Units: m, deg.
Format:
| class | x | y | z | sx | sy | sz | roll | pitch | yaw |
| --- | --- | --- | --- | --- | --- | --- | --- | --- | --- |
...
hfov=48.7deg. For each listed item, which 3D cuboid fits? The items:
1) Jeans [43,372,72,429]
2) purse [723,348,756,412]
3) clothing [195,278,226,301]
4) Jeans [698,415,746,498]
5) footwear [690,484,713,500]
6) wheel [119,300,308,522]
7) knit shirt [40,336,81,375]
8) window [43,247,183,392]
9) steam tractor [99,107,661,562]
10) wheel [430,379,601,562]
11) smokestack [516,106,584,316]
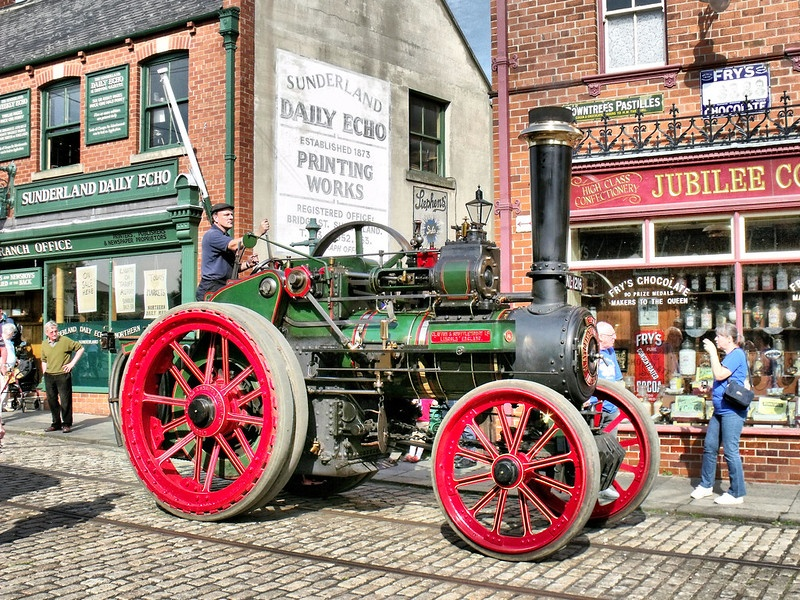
| class | x | y | z | sx | sy | sz | roll | pitch | yaw |
| --- | --- | --- | --- | --- | --- | --- | --- | --- | --- |
| Jeans | -5.743 | 1.707 | 15.003 | 0.497 | 0.963 | 0.256 | 1 | 4 | 11 |
| purse | 3.820 | 0.946 | 10.223 | 0.421 | 0.575 | 0.321 | 24 | -19 | 12 |
| clothing | -2.189 | -0.127 | 10.315 | 0.339 | 0.345 | 0.219 | -3 | -3 | 4 |
| Jeans | 3.764 | 1.751 | 10.276 | 0.558 | 0.914 | 0.496 | 4 | 5 | 36 |
| footwear | 3.542 | 2.242 | 10.320 | 0.309 | 0.132 | 0.120 | 2 | -5 | -32 |
| wheel | -2.054 | 1.224 | 9.358 | 2.267 | 2.279 | 0.480 | 9 | 2 | 31 |
| knit shirt | -5.832 | 0.958 | 15.329 | 0.788 | 0.711 | 0.361 | -2 | -12 | -15 |
| window | -5.646 | 0.345 | 17.487 | 4.067 | 2.934 | 0.142 | -2 | 0 | 30 |
| steam tractor | -0.371 | 0.358 | 10.701 | 5.886 | 4.404 | 2.392 | 2 | 4 | 28 |
| wheel | 1.236 | 1.532 | 8.858 | 1.511 | 1.706 | 2.032 | 2 | 4 | 13 |
| smokestack | 1.486 | -0.872 | 8.786 | 0.690 | 2.032 | 0.715 | 0 | -4 | 18 |
